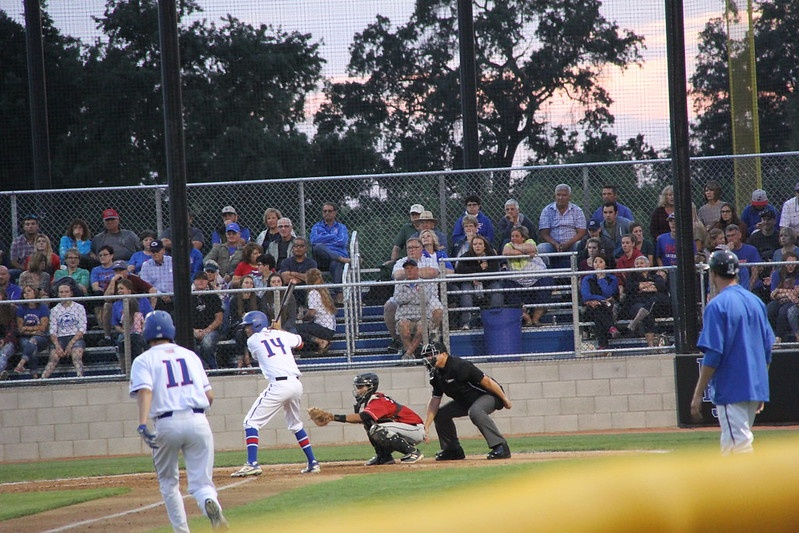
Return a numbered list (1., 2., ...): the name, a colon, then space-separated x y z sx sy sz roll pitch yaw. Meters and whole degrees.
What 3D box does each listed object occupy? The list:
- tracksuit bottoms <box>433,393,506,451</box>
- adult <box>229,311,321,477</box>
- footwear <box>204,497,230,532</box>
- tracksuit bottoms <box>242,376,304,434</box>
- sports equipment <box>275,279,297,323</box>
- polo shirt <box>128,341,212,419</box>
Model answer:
1. tracksuit bottoms: 1.591 3.329 39.233 1.580 1.298 1.343 -9 7 30
2. adult: -2.769 2.754 40.153 1.313 3.371 1.668 -21 -39 18
3. footwear: -3.542 4.828 35.080 0.262 0.784 0.331 -32 -3 -10
4. tracksuit bottoms: -2.753 2.975 39.562 0.685 1.246 1.331 0 -7 39
5. sports equipment: -2.568 0.881 40.308 0.103 0.276 1.083 -38 -20 -51
6. polo shirt: -4.452 2.313 35.681 1.792 1.542 0.871 -1 -19 -34
